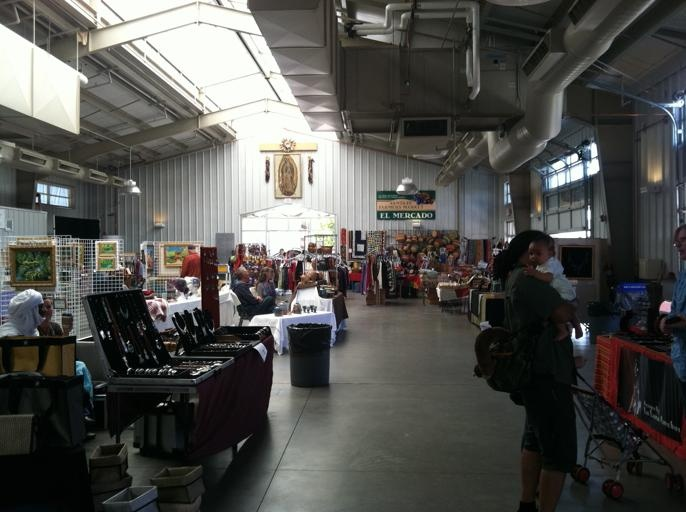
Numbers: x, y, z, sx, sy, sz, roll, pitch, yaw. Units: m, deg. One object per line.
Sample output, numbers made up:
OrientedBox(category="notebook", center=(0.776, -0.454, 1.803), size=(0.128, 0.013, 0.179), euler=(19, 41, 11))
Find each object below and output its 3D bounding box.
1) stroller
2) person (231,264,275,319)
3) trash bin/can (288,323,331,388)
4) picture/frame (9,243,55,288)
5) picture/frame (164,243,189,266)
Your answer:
OrientedBox(category="stroller", center=(2.192, 1.342, 3.942), size=(0.695, 0.781, 0.890), euler=(1, 3, 34))
OrientedBox(category="person", center=(-1.527, 0.631, 8.661), size=(0.657, 0.923, 0.892), euler=(-1, 3, -13))
OrientedBox(category="trash bin/can", center=(-0.408, 1.225, 6.185), size=(0.603, 0.742, 0.664), euler=(0, -4, -2))
OrientedBox(category="picture/frame", center=(-4.096, 0.151, 6.703), size=(0.507, 0.543, 0.091), euler=(-1, -5, -11))
OrientedBox(category="picture/frame", center=(-3.855, -0.024, 11.776), size=(0.502, 0.459, 0.045), euler=(0, 0, -1))
